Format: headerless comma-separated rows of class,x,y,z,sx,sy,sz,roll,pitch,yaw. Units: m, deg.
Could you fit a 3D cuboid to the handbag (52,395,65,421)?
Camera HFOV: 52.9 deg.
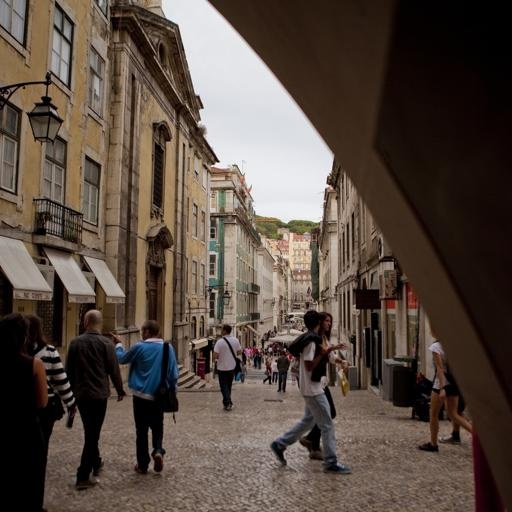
handbag,-1.674,1.290,4.359,0.085,0.205,0.297,2,-9,-22

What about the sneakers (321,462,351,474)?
sneakers,0.813,2.154,5.262,0.275,0.180,0.116,-1,0,4

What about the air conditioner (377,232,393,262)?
air conditioner,2.211,-0.122,8.899,0.169,0.215,0.615,-19,-5,0

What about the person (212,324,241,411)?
person,-0.561,2.143,10.053,0.524,1.626,1.129,-1,-7,-2

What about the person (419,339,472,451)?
person,2.232,1.661,6.217,0.625,1.371,0.929,-4,-8,23

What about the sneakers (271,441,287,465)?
sneakers,0.252,2.188,5.676,0.113,0.385,0.112,-10,16,13

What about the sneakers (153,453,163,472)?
sneakers,-1.009,2.122,5.305,0.065,0.253,0.087,-1,6,5

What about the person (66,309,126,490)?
person,-1.621,1.384,5.228,0.595,1.692,0.726,2,-7,-24

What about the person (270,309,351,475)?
person,0.601,1.414,5.541,0.869,1.686,0.459,-6,-8,39

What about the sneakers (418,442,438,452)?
sneakers,2.088,2.319,6.257,0.223,0.143,0.100,6,-4,24

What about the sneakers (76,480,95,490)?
sneakers,-1.589,2.140,4.803,0.149,0.094,0.073,-2,2,-25
